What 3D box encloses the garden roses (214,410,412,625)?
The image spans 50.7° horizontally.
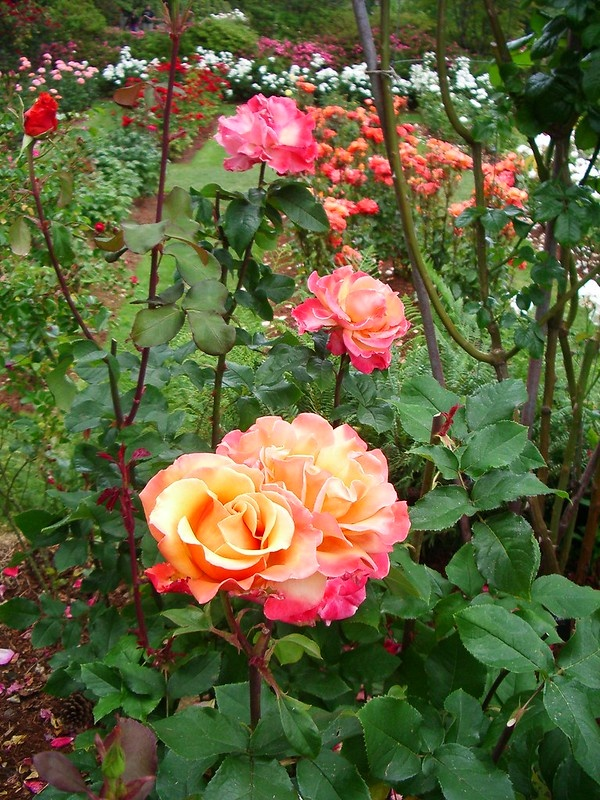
[{"bbox_3d":[0.011,0.093,0.565,0.165,0.083,0.161,-7,45,-29],"label":"garden roses"}]

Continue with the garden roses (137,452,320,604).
[{"bbox_3d":[-0.049,0.108,0.489,0.118,0.053,0.109,28,40,25],"label":"garden roses"}]

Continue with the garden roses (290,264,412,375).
[{"bbox_3d":[0.091,-0.135,1.115,0.198,0.197,0.186,-1,11,17],"label":"garden roses"}]
